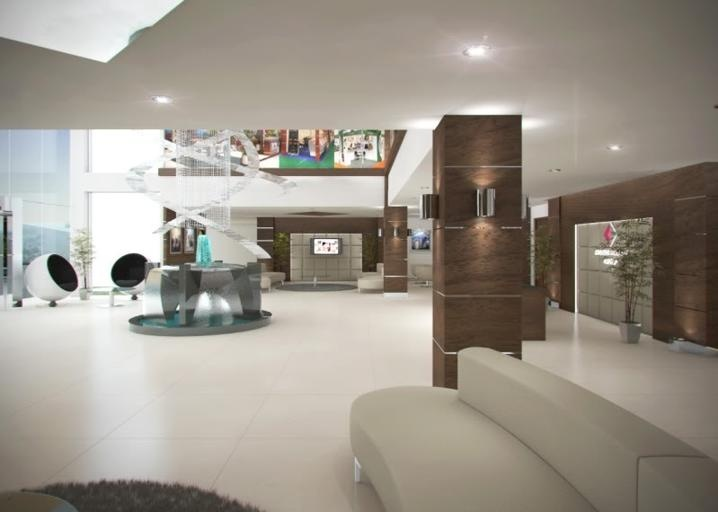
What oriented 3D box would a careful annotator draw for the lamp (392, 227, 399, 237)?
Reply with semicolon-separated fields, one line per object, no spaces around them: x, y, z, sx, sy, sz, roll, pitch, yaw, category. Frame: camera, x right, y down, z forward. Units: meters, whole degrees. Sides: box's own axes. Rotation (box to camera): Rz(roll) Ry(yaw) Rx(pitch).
1.076;-0.693;13.983;0.249;0.355;0.229;-1;-4;8;lamp

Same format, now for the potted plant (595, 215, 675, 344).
5.051;0.362;8.904;0.809;2.115;2.055;3;7;25;potted plant

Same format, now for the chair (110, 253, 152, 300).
-5.937;0.613;12.629;0.990;1.051;0.849;-2;7;-4;chair

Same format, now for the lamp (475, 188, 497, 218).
1.386;-0.578;5.220;0.218;0.331;0.177;1;6;8;lamp

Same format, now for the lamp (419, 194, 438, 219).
0.798;-0.546;5.402;0.277;0.274;0.260;-1;-4;-2;lamp

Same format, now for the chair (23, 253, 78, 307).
-7.613;0.623;12.062;0.793;1.269;1.029;3;7;22;chair
